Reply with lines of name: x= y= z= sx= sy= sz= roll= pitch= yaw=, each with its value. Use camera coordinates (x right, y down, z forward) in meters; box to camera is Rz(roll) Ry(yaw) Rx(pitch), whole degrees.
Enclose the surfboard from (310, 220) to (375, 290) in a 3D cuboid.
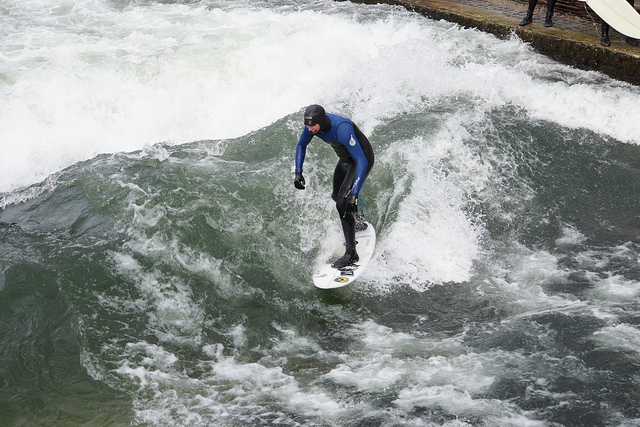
surfboard: x=0.546 y=0.919 z=12.532 sx=0.589 sy=0.263 sz=1.840 roll=8 pitch=44 yaw=25
